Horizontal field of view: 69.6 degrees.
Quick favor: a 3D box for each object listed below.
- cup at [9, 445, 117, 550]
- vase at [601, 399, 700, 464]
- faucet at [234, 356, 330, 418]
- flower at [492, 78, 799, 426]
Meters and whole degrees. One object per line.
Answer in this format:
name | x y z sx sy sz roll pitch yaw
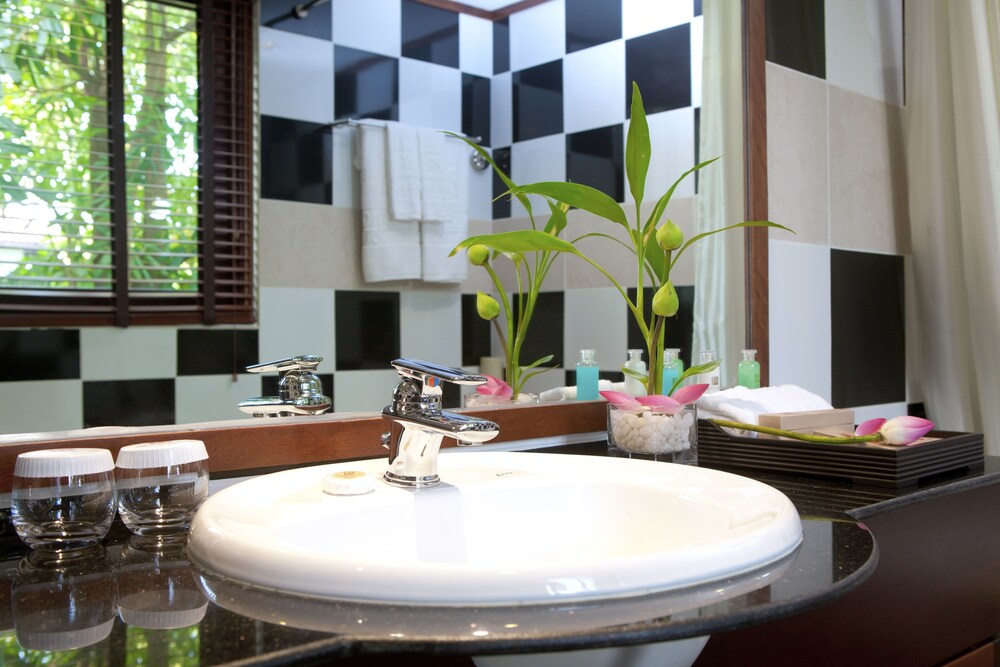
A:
cup | -0.576 0.211 1.011 0.132 0.133 0.134 1 1 0
vase | 0.310 0.197 1.491 0.136 0.096 0.125 -2 -3 35
faucet | -0.374 0.098 1.262 0.156 0.099 0.081 3 -6 -30
flower | 0.282 -0.185 1.805 0.800 0.659 0.737 -2 -7 -3
